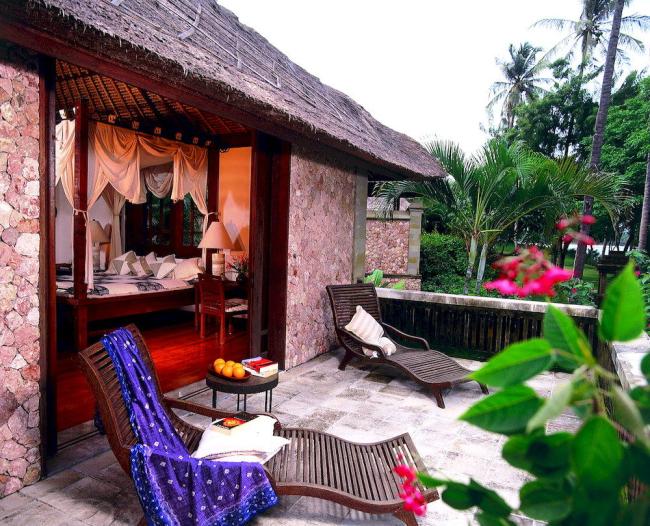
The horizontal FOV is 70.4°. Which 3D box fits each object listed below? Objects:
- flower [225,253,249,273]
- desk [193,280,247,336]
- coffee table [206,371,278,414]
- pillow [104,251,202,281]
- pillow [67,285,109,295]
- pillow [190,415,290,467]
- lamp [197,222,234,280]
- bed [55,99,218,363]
[{"bbox_3d":[-1.547,-0.054,8.128,0.370,0.392,0.395,1,-4,3],"label":"flower"},{"bbox_3d":[-1.510,0.607,6.934,0.628,0.971,0.704,3,6,22],"label":"desk"},{"bbox_3d":[-0.626,1.000,3.707,0.507,0.449,0.559,1,2,3],"label":"coffee table"},{"bbox_3d":[-3.063,0.052,8.364,1.537,0.494,0.826,13,8,38],"label":"pillow"},{"bbox_3d":[-3.081,0.364,6.023,0.508,0.122,0.294,-3,3,-33],"label":"pillow"},{"bbox_3d":[-0.518,1.091,2.830,0.292,0.103,0.301,5,8,28],"label":"pillow"},{"bbox_3d":[-1.842,-0.246,7.946,0.723,1.269,0.796,1,3,1],"label":"lamp"},{"bbox_3d":[-3.005,-0.519,6.873,1.448,3.221,2.637,9,6,35],"label":"bed"}]
